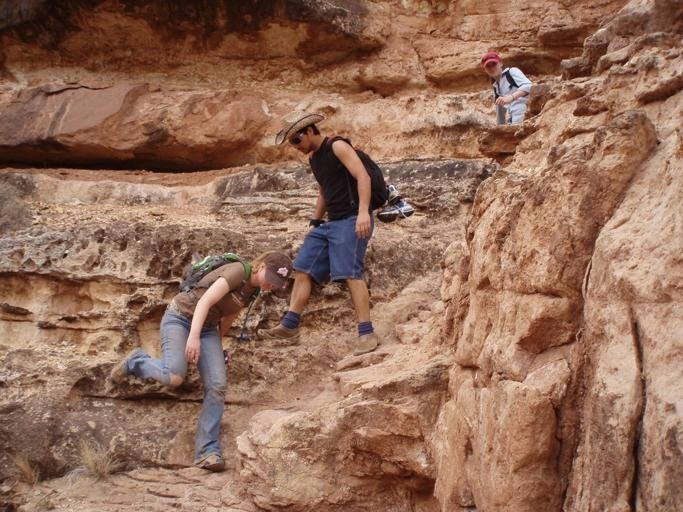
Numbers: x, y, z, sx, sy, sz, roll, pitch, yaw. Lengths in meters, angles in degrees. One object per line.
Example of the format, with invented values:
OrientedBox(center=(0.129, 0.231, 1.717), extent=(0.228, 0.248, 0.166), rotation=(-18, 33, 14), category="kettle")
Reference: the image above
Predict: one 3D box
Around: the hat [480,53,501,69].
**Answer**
OrientedBox(center=(1.426, -1.916, 8.980), extent=(0.153, 0.121, 0.229), rotation=(-17, 7, 23), category="hat")

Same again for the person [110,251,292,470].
OrientedBox(center=(-1.091, 0.789, 7.523), extent=(1.390, 1.674, 0.682), rotation=(-1, 7, -3), category="person")

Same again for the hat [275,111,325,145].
OrientedBox(center=(-0.360, -1.078, 7.588), extent=(0.305, 0.258, 0.411), rotation=(-5, 8, -35), category="hat")

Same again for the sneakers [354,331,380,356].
OrientedBox(center=(0.207, 0.685, 7.519), extent=(0.135, 0.087, 0.230), rotation=(1, 29, 38), category="sneakers")

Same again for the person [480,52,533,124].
OrientedBox(center=(1.533, -1.618, 8.796), extent=(0.383, 0.675, 0.812), rotation=(0, 7, 1), category="person")

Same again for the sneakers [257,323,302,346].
OrientedBox(center=(-0.575, 0.641, 7.813), extent=(0.453, 0.209, 0.157), rotation=(3, 5, -10), category="sneakers")

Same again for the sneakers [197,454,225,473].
OrientedBox(center=(-1.028, 1.610, 7.346), extent=(0.101, 0.106, 0.241), rotation=(15, -23, -40), category="sneakers")

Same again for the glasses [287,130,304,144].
OrientedBox(center=(-0.364, -0.963, 7.461), extent=(0.092, 0.030, 0.096), rotation=(-23, 32, 49), category="glasses")

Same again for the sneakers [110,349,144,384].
OrientedBox(center=(-1.787, 0.901, 7.769), extent=(0.341, 0.126, 0.203), rotation=(-42, 36, 11), category="sneakers")

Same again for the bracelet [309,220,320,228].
OrientedBox(center=(-0.225, -0.301, 7.778), extent=(0.076, 0.039, 0.058), rotation=(-10, 28, -1), category="bracelet")
